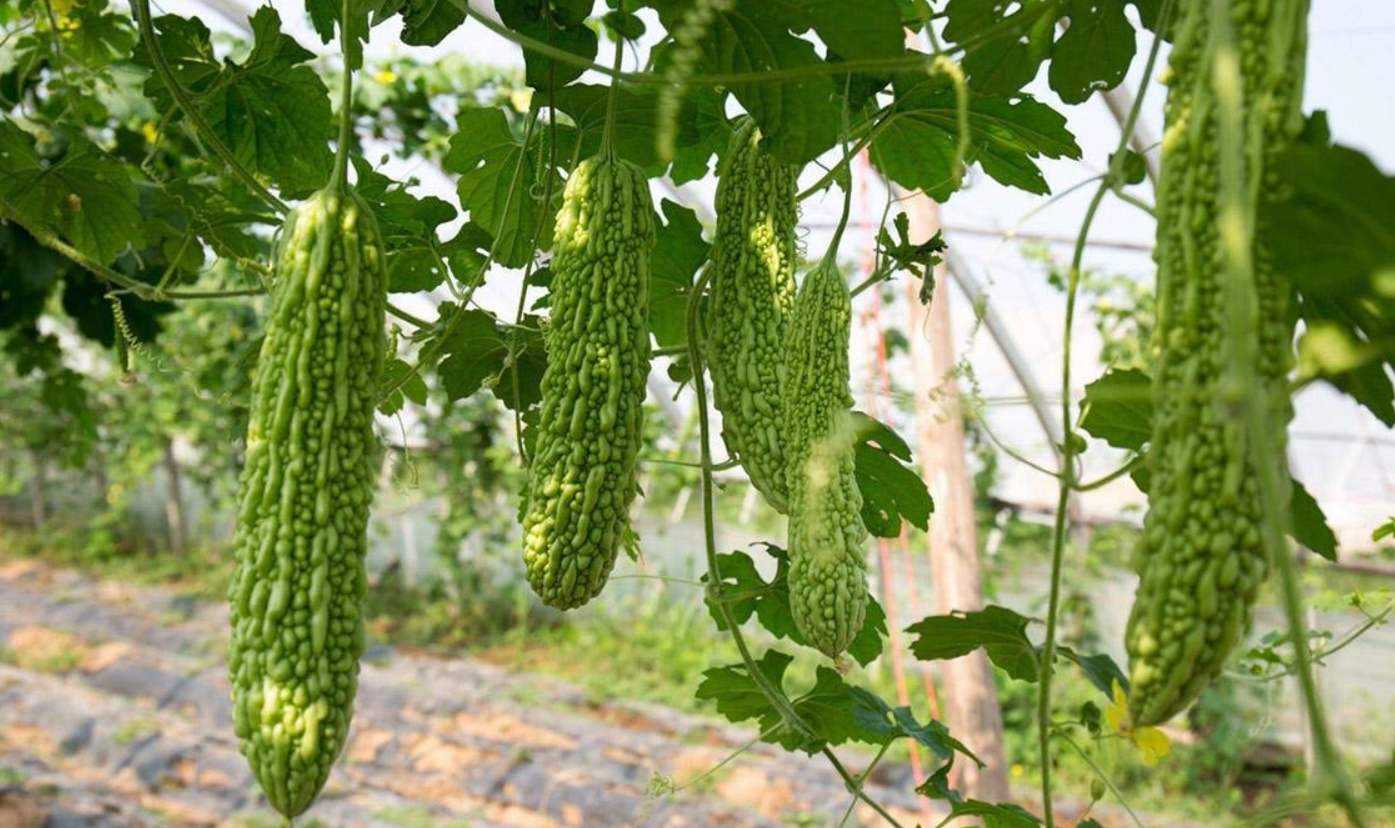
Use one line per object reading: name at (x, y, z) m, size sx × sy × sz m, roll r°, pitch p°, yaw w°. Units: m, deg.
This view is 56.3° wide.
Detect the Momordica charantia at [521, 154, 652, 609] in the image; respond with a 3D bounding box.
Momordica charantia at (-0.315, -0.090, 3.840) m, size 0.382 × 1.307 × 0.360 m, roll 10°, pitch -13°, yaw -2°

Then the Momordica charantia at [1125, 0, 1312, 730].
Momordica charantia at (1.305, -0.106, 3.539) m, size 0.429 × 1.957 × 0.426 m, roll 4°, pitch -3°, yaw 2°
